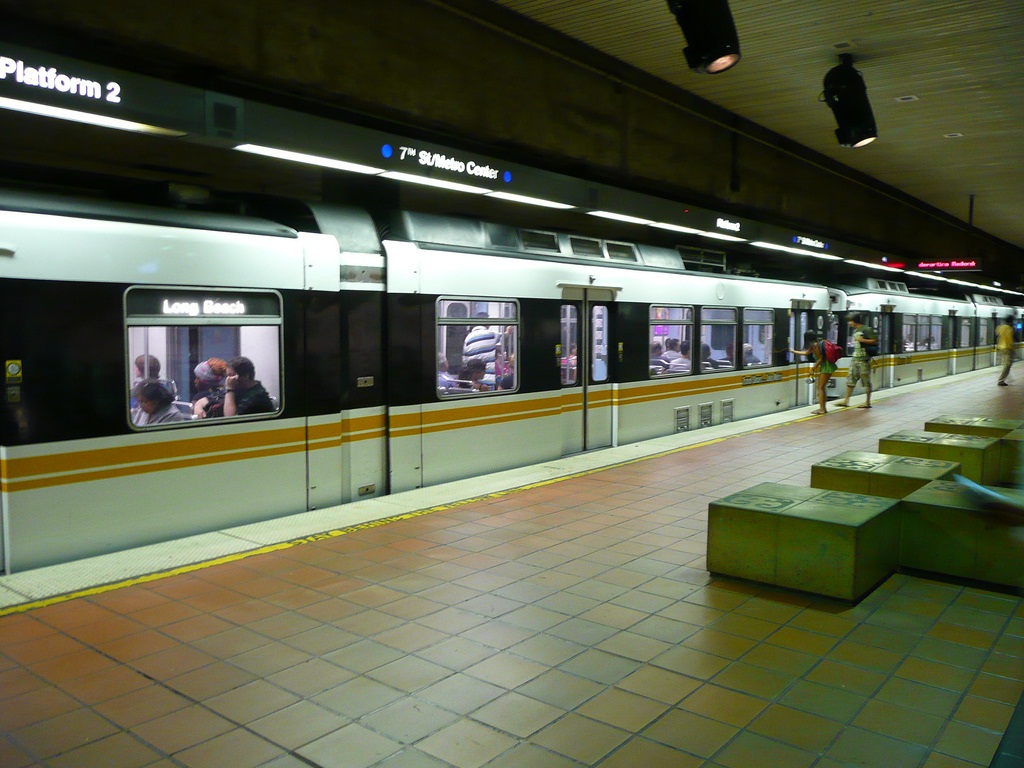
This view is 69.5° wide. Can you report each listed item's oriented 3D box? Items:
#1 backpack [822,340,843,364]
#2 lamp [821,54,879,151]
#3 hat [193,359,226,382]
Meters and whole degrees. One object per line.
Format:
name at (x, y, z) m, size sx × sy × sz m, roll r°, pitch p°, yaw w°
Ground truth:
backpack at (6.558, -0.620, 15.180) m, size 0.482 × 0.447 × 0.200 m, roll -18°, pitch 29°, yaw -17°
lamp at (3.872, -3.207, 8.450) m, size 0.577 × 0.966 × 0.833 m, roll 3°, pitch 10°, yaw 20°
hat at (-2.812, -0.120, 6.831) m, size 0.186 × 0.171 × 0.234 m, roll -14°, pitch -9°, yaw -36°
